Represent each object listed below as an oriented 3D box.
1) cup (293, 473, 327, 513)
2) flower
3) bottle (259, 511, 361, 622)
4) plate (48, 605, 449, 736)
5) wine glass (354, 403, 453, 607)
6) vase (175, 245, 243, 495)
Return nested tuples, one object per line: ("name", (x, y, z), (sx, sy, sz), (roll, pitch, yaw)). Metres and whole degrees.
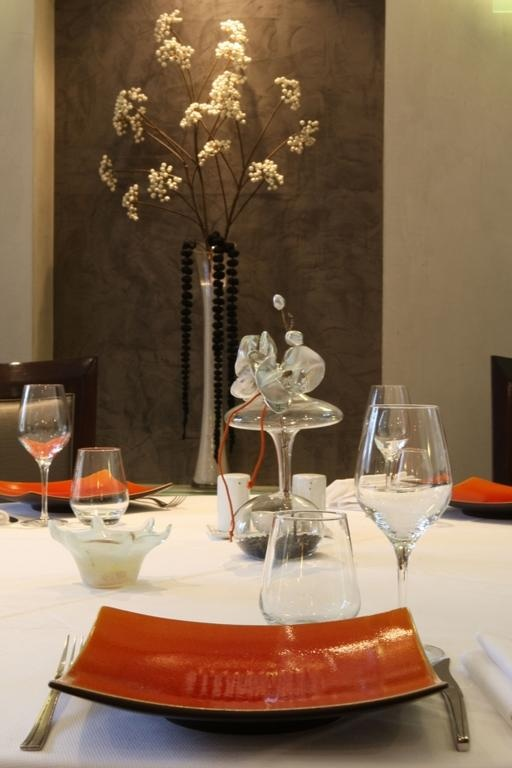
("cup", (0.073, 0.157, 0.938), (0.054, 0.061, 0.054), (1, -2, 0))
("flower", (-0.241, -1.000, 2.441), (0.472, 0.695, 0.562), (1, 1, 34))
("bottle", (0.036, 0.127, 0.469), (0.072, 0.070, 0.063), (-5, -6, 42))
("plate", (-0.005, 0.150, 0.351), (0.196, 0.043, 0.137), (-3, 1, 4))
("wine glass", (0.118, 0.099, 0.503), (0.070, 0.112, 0.105), (-3, 1, 16))
("vase", (-0.164, -0.095, 2.361), (0.250, 0.761, 0.420), (-3, 1, -7))
